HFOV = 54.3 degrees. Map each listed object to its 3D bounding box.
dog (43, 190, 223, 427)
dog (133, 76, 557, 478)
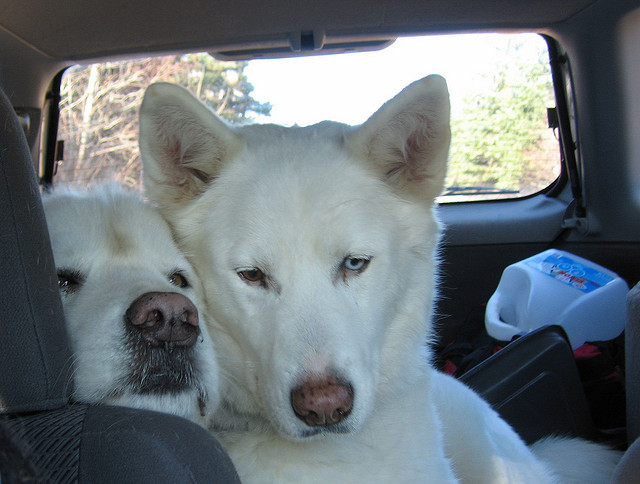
[{"bbox_3d":[-0.682,0.175,2.331,0.575,0.460,1.018,1,26,-26],"label":"dog"},{"bbox_3d":[-0.044,0.126,2.417,1.225,1.502,0.665,-3,7,-17],"label":"dog"}]
